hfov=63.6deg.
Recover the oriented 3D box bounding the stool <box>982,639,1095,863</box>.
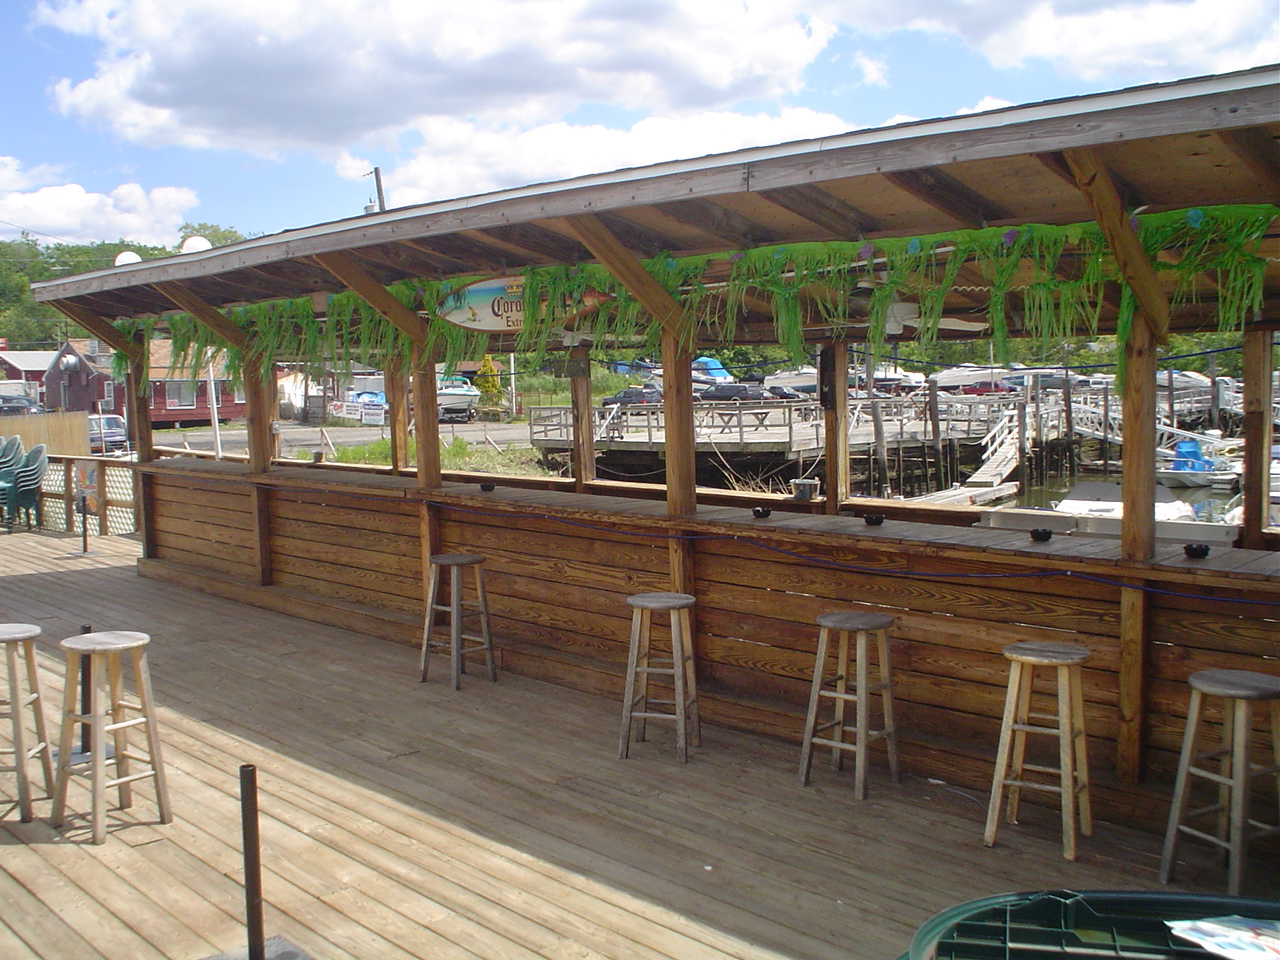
[{"bbox_3d":[1.972,1.248,5.048,0.487,0.934,0.865,2,11,21],"label":"stool"}]

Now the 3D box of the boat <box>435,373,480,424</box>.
[{"bbox_3d":[-6.857,-3.033,39.883,1.244,1.551,2.416,-1,9,6],"label":"boat"}]

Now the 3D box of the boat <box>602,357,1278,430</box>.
[{"bbox_3d":[12.144,-3.224,36.032,18.720,1.963,18.145,-6,9,-29],"label":"boat"}]

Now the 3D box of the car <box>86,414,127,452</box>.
[{"bbox_3d":[-17.795,-1.539,34.756,1.477,0.748,1.963,-2,3,-25],"label":"car"}]
